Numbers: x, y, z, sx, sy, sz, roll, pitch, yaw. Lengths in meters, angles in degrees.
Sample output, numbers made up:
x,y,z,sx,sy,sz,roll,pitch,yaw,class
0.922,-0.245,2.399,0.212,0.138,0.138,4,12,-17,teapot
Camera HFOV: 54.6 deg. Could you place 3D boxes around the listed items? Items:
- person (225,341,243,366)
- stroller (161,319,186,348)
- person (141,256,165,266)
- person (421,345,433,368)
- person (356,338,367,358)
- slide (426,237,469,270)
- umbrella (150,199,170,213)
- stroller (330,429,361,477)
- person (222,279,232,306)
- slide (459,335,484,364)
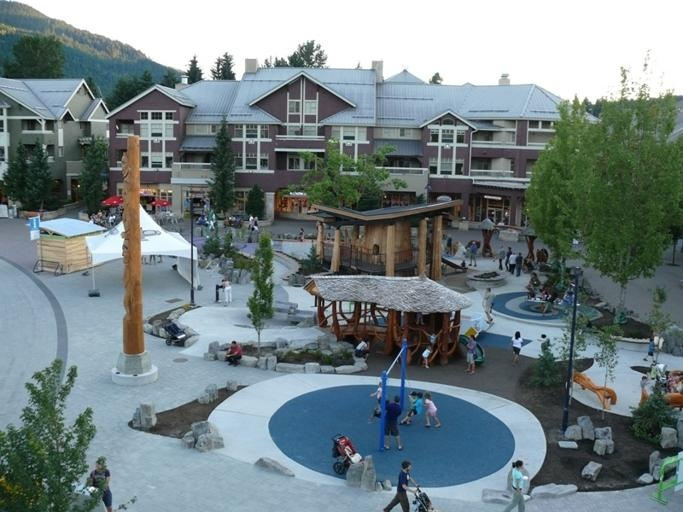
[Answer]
x,y,z,sx,sy,sz,roll,pitch,yaw,class
-5.326,4.680,32.414,1.018,1.117,0.678,9,9,42,person
-8.894,4.131,34.777,0.875,0.474,1.535,-15,44,-35,stroller
-14.882,0.256,52.361,1.170,0.564,2.079,6,7,24,person
4.238,4.977,32.989,0.430,1.031,0.769,4,7,10,person
1.010,4.637,33.496,0.616,0.934,0.492,10,-2,7,person
9.545,0.164,56.309,2.372,2.333,4.277,-2,11,-13,slide
-19.779,-5.644,72.695,1.979,1.478,2.072,5,16,6,umbrella
0.069,7.215,23.840,1.370,0.755,0.797,31,25,33,stroller
-7.371,2.214,42.761,0.558,1.557,1.897,1,7,-11,person
6.836,4.754,33.253,0.359,1.579,0.872,-19,14,-18,slide
